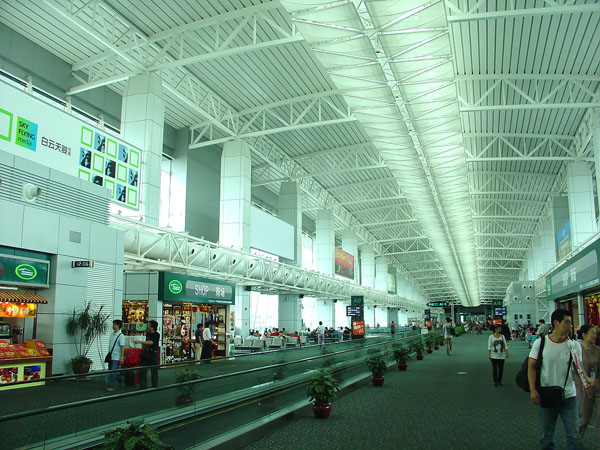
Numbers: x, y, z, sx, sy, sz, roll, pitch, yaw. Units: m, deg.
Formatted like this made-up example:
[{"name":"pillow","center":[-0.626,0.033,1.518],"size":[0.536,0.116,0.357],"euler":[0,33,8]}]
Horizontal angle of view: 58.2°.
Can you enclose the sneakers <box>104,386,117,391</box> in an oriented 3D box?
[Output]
[{"name":"sneakers","center":[-3.499,3.044,9.958],"size":[0.239,0.086,0.039],"euler":[-10,-16,35]}]

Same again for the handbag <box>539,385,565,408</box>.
[{"name":"handbag","center":[3.724,2.573,8.031],"size":[0.336,0.332,0.172],"euler":[2,-13,-9]}]

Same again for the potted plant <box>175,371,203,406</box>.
[{"name":"potted plant","center":[-2.077,2.917,9.579],"size":[0.461,0.542,0.419],"euler":[2,-13,3]}]

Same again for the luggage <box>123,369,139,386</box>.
[{"name":"luggage","center":[-3.138,2.830,9.961],"size":[0.160,0.259,0.290],"euler":[-16,-7,4]}]

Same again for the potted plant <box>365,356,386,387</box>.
[{"name":"potted plant","center":[2.347,4.501,16.601],"size":[0.554,0.890,0.714],"euler":[-1,-13,5]}]

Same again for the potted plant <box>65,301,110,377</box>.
[{"name":"potted plant","center":[-6.187,3.240,15.696],"size":[0.683,2.054,1.217],"euler":[-2,-13,7]}]

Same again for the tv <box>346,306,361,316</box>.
[{"name":"tv","center":[3.599,5.882,36.781],"size":[1.072,0.763,0.426],"euler":[-12,-17,40]}]
